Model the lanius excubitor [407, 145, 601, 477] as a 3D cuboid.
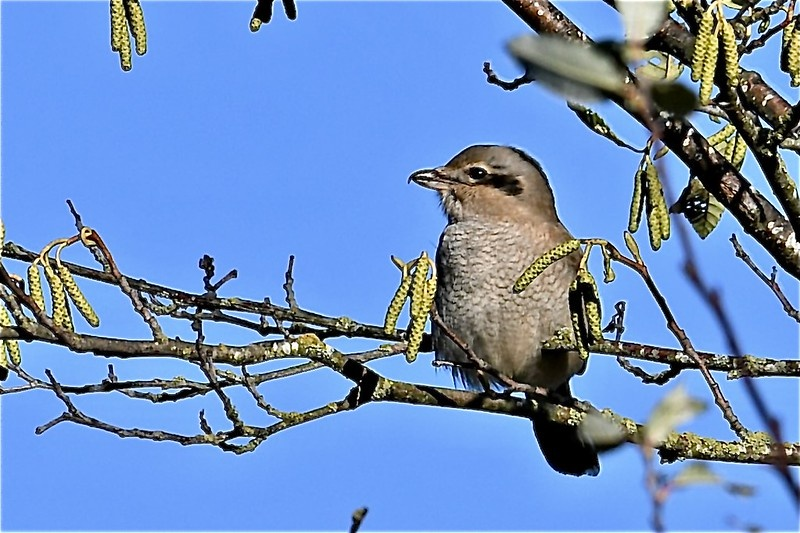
[{"bbox_3d":[0.592,0.180,8.099,0.976,1.548,2.135,-1,-90,-1],"label":"lanius excubitor"}]
